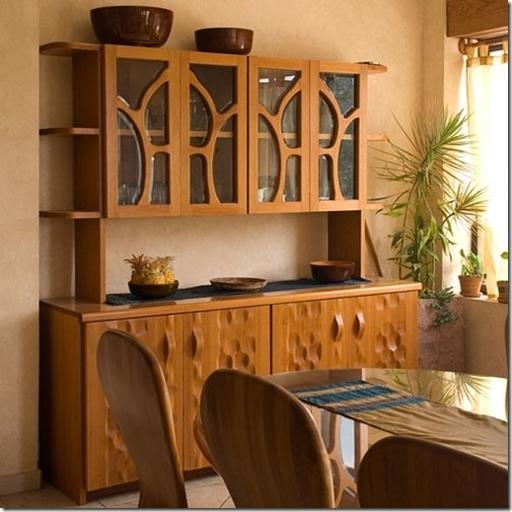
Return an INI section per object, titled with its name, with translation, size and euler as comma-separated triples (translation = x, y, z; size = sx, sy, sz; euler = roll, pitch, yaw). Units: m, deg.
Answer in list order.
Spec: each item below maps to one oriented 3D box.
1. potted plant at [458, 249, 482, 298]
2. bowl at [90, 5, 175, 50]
[potted plant]
translation = 1.742, 0.136, 4.098
size = 0.174, 0.416, 0.279
euler = -3, 0, 25
[bowl]
translation = -0.669, -1.234, 2.707
size = 0.316, 0.154, 0.359
euler = 0, 1, -11
